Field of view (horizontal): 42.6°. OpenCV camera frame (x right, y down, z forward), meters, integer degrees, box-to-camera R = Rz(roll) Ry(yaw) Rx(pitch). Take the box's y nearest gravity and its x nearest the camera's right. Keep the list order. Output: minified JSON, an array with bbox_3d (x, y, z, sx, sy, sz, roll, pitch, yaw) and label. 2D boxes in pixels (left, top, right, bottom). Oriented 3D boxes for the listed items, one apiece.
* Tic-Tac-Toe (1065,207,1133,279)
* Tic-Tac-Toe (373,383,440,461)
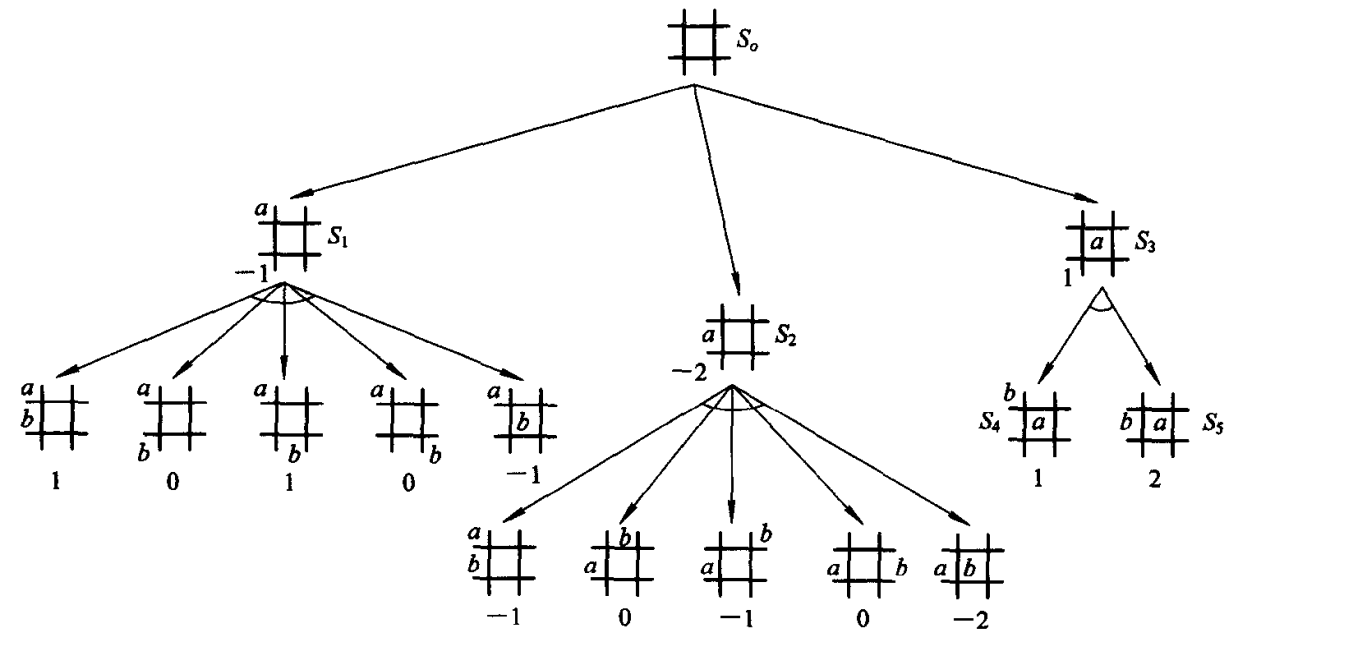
[{"bbox_3d":[3.229,-0.639,13.160,0.402,0.499,0.375,-20,-27,40],"label":"Tic-Tac-Toe"},{"bbox_3d":[-1.978,0.676,12.937,0.424,0.476,0.431,13,-25,-36],"label":"Tic-Tac-Toe"}]
